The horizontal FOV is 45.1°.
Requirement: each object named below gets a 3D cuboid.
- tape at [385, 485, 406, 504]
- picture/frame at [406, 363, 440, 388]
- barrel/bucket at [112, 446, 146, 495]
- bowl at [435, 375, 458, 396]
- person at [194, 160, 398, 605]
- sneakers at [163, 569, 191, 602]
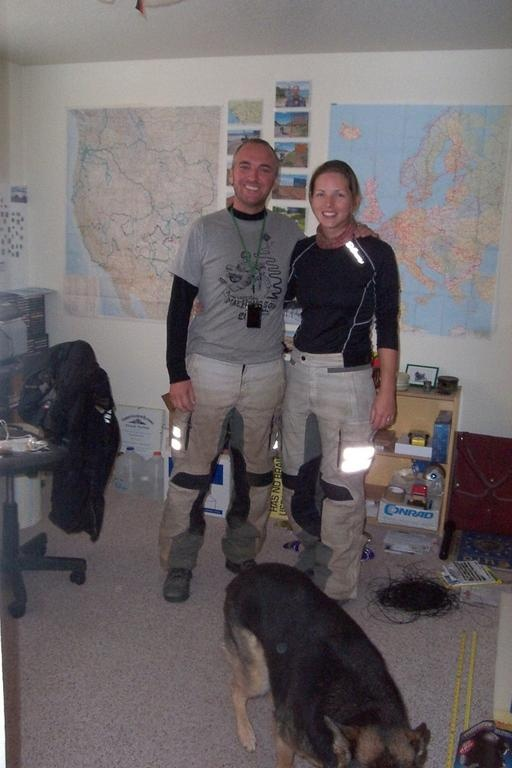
[{"bbox_3d":[0.774,0.619,3.422,0.064,0.078,0.082,2,5,8],"label":"tape"},{"bbox_3d":[0.932,-0.040,3.399,0.120,0.101,0.009,13,-5,22],"label":"picture/frame"},{"bbox_3d":[-0.781,0.538,3.764,0.210,0.249,0.076,7,12,25],"label":"barrel/bucket"},{"bbox_3d":[1.009,0.008,3.261,0.108,0.083,0.125,6,11,21],"label":"bowl"},{"bbox_3d":[0.309,0.023,2.401,0.459,1.688,0.195,6,11,18],"label":"person"},{"bbox_3d":[-0.339,0.855,2.597,0.063,0.076,0.180,1,3,-2],"label":"sneakers"}]
